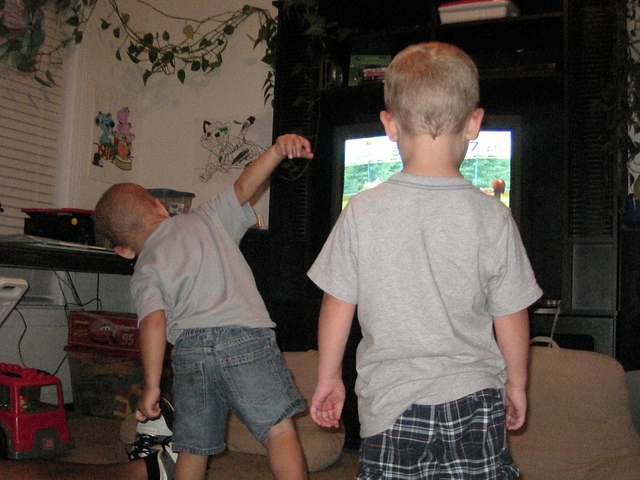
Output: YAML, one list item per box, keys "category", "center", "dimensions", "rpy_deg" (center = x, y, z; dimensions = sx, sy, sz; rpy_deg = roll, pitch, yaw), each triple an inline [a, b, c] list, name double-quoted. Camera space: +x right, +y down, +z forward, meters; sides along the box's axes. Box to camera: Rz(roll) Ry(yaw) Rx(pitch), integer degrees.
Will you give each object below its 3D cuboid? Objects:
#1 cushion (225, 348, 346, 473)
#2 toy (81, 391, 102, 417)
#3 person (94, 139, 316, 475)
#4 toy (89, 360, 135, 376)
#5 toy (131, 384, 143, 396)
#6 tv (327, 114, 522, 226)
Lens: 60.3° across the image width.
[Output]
- category: "cushion"
  center: [-0.129, 0.722, 2.427]
  dimensions: [0.574, 0.569, 0.178]
  rpy_deg: [9, 4, 27]
- category: "toy"
  center: [-1.503, 1.078, 3.631]
  dimensions: [0.173, 0.166, 0.095]
  rpy_deg: [-2, -3, 33]
- category: "person"
  center: [-0.430, 0.210, 2.029]
  dimensions: [0.824, 1.154, 0.342]
  rpy_deg: [0, -1, 8]
- category: "toy"
  center: [-1.379, 0.831, 3.556]
  dimensions: [0.207, 0.049, 0.147]
  rpy_deg: [0, 2, 11]
- category: "toy"
  center: [-1.149, 0.944, 3.474]
  dimensions: [0.097, 0.065, 0.025]
  rpy_deg: [-1, -1, 35]
- category: "tv"
  center: [0.455, -0.280, 2.186]
  dimensions: [0.697, 0.585, 0.379]
  rpy_deg: [-1, -9, 22]
